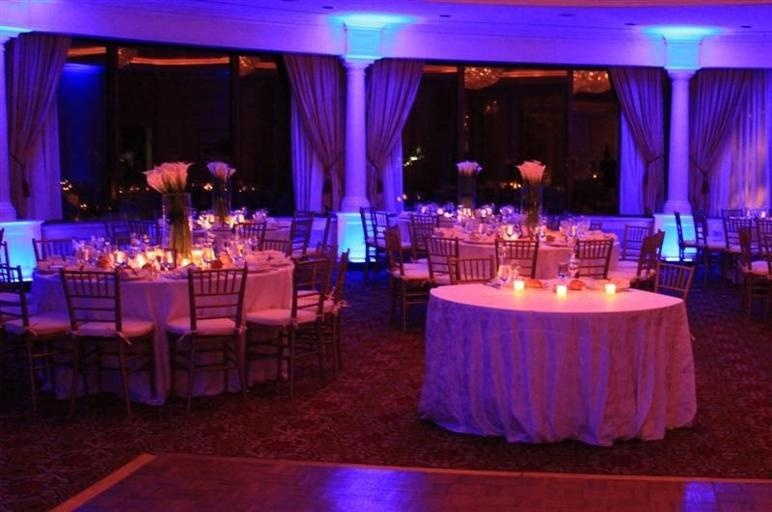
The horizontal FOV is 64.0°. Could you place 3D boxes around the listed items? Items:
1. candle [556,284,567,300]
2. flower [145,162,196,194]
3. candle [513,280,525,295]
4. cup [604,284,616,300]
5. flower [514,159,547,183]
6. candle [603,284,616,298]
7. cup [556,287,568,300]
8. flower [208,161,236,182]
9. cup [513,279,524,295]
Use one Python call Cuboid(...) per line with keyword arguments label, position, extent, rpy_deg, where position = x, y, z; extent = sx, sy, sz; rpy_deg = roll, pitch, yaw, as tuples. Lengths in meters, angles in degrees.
Cuboid(label="candle", position=(1.337, 0.275, 4.705), extent=(0.084, 0.097, 0.086), rpy_deg=(0, 1, 4))
Cuboid(label="flower", position=(-2.035, -0.714, 5.756), extent=(0.401, 0.283, 0.404), rpy_deg=(-14, 7, 0))
Cuboid(label="candle", position=(1.030, 0.238, 4.838), extent=(0.092, 0.103, 0.094), rpy_deg=(0, -3, 0))
Cuboid(label="cup", position=(1.703, 0.269, 4.737), extent=(0.100, 0.103, 0.101), rpy_deg=(1, 7, 0))
Cuboid(label="flower", position=(1.756, -1.012, 7.526), extent=(0.271, 0.261, 0.311), rpy_deg=(1, 10, 8))
Cuboid(label="candle", position=(1.698, 0.262, 4.728), extent=(0.089, 0.090, 0.091), rpy_deg=(2, 12, 11))
Cuboid(label="cup", position=(1.335, 0.284, 4.693), extent=(0.081, 0.095, 0.083), rpy_deg=(0, 1, 0))
Cuboid(label="flower", position=(-2.329, -1.180, 8.749), extent=(0.290, 0.270, 0.276), rpy_deg=(-4, 10, -21))
Cuboid(label="cup", position=(1.027, 0.225, 4.849), extent=(0.091, 0.100, 0.093), rpy_deg=(0, -3, 0))
